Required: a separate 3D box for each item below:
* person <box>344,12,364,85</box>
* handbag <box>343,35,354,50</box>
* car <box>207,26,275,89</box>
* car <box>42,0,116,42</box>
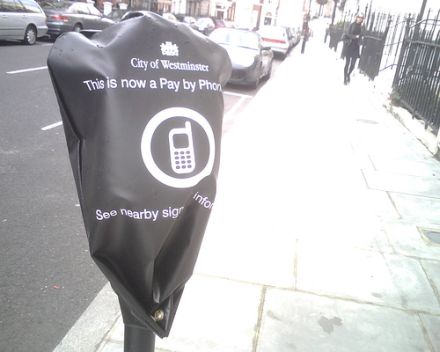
[{"bbox_3d":[4.775,-4.536,12.476,0.633,2.473,1.017,12,25,18],"label":"person"},{"bbox_3d":[4.526,-4.719,12.170,0.184,0.486,0.388,-2,26,-15],"label":"handbag"},{"bbox_3d":[0.832,-4.127,12.198,1.923,1.790,3.028,7,26,4],"label":"car"},{"bbox_3d":[-7.554,-8.080,17.934,1.982,1.803,3.380,23,31,32],"label":"car"}]
